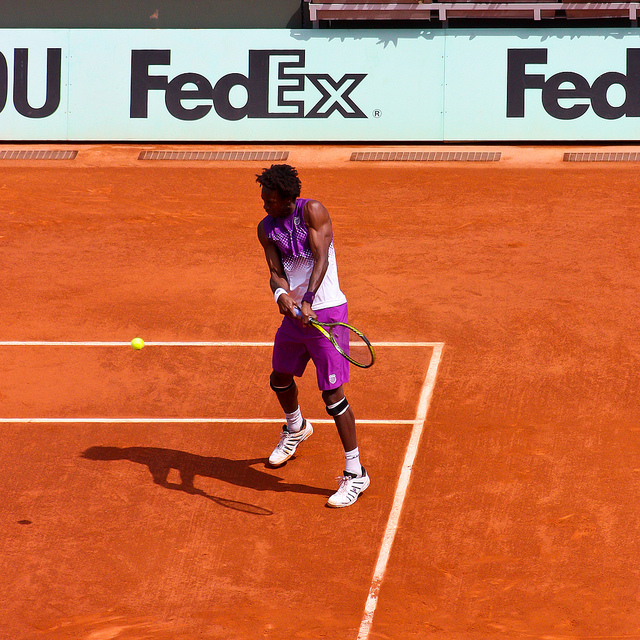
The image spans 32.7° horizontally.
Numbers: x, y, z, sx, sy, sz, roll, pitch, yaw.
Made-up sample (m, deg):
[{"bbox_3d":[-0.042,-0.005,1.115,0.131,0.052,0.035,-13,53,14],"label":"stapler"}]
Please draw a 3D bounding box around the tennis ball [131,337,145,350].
[{"bbox_3d":[-1.798,0.241,10.796,0.075,0.102,0.081,-1,32,0],"label":"tennis ball"}]

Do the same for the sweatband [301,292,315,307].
[{"bbox_3d":[-0.089,-0.172,9.013,0.082,0.074,0.091,26,-1,44],"label":"sweatband"}]

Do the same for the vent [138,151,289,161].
[{"bbox_3d":[-1.695,-2.638,17.446,2.415,0.138,0.400,2,11,8],"label":"vent"}]

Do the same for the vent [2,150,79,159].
[{"bbox_3d":[-4.542,-2.697,17.663,0.950,0.173,0.100,-3,-12,-5],"label":"vent"}]

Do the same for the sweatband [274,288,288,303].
[{"bbox_3d":[-0.326,-0.200,9.165,0.093,0.102,0.100,-5,-19,-6],"label":"sweatband"}]

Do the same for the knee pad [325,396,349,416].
[{"bbox_3d":[0.144,0.750,9.247,0.177,0.148,0.117,-1,11,-2],"label":"knee pad"}]

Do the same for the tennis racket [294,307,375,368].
[{"bbox_3d":[0.141,0.273,9.322,0.065,0.270,0.845,-31,39,-33],"label":"tennis racket"}]
